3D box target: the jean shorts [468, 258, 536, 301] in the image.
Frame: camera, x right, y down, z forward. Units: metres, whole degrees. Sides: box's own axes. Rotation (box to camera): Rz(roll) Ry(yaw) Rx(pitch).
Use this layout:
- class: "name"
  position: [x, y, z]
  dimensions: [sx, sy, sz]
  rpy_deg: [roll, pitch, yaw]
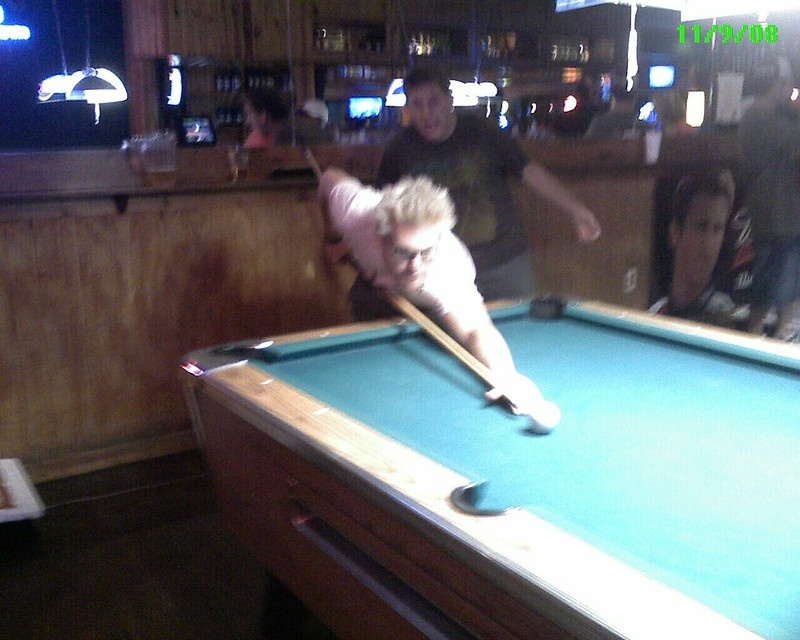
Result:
- class: "jean shorts"
  position: [0.591, -0.184, 4.006]
  dimensions: [0.306, 0.079, 0.204]
  rpy_deg: [-22, -18, 26]

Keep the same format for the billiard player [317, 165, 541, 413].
- class: "billiard player"
  position: [0.020, -0.216, 2.457]
  dimensions: [0.333, 0.542, 1.526]
  rpy_deg: [-8, 23, -25]

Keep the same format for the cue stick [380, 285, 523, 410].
- class: "cue stick"
  position: [0.092, 0.072, 1.860]
  dimensions: [0.114, 0.056, 0.756]
  rpy_deg: [37, 5, -40]

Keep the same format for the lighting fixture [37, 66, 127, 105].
- class: "lighting fixture"
  position: [-1.771, -1.300, 3.820]
  dimensions: [0.431, 0.160, 0.287]
  rpy_deg: [6, 16, 24]

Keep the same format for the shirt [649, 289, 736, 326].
- class: "shirt"
  position: [1.468, -0.065, 3.400]
  dimensions: [0.165, 0.214, 0.601]
  rpy_deg: [11, -1, -4]

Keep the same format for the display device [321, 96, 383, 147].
- class: "display device"
  position: [-0.320, -1.433, 4.886]
  dimensions: [0.468, 0.127, 0.545]
  rpy_deg: [0, 48, -6]

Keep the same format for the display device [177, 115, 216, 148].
- class: "display device"
  position: [-1.167, -1.080, 3.956]
  dimensions: [0.194, 0.168, 0.147]
  rpy_deg: [-6, 15, -19]
